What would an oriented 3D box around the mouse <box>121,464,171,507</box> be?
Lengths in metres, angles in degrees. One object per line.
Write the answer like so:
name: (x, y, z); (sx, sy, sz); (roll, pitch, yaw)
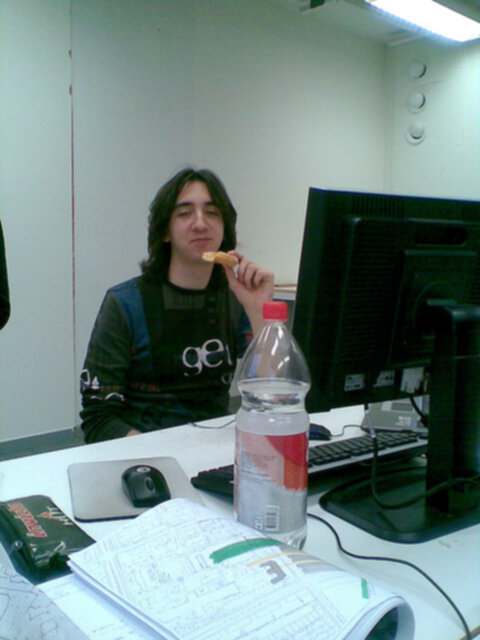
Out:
mouse: (-0.134, 0.221, 0.771); (0.053, 0.029, 0.090); (0, 13, -27)
